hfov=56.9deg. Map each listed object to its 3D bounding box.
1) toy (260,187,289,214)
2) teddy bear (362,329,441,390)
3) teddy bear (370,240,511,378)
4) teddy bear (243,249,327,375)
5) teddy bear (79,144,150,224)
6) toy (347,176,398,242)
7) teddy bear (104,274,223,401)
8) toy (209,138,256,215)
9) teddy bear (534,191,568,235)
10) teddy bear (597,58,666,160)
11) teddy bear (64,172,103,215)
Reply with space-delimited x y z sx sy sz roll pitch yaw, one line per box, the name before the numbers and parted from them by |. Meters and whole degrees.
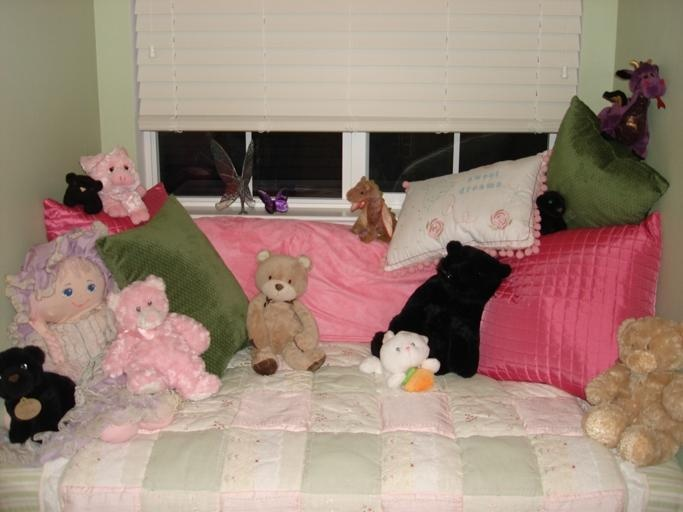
toy | -0.321 -0.260 3.020 0.185 0.100 0.109 -8 29 -10
teddy bear | 0.229 0.404 2.387 0.283 0.229 0.195 -4 -21 -2
teddy bear | 0.392 0.184 2.385 0.374 0.475 0.334 22 3 7
teddy bear | -0.247 0.223 2.481 0.308 0.454 0.315 -2 11 -32
teddy bear | -0.921 -0.306 2.634 0.322 0.269 0.242 25 29 31
toy | 0.146 -0.218 2.733 0.238 0.292 0.244 -9 34 -8
teddy bear | -0.630 0.317 2.194 0.351 0.416 0.333 2 25 16
toy | -0.530 -0.391 3.097 0.306 0.371 0.203 -7 21 -22
teddy bear | 0.839 -0.167 2.514 0.134 0.211 0.136 8 12 43
teddy bear | 1.157 -0.611 2.505 0.199 0.347 0.238 -24 37 -19
teddy bear | -1.040 -0.253 2.521 0.143 0.159 0.121 12 -13 -27
